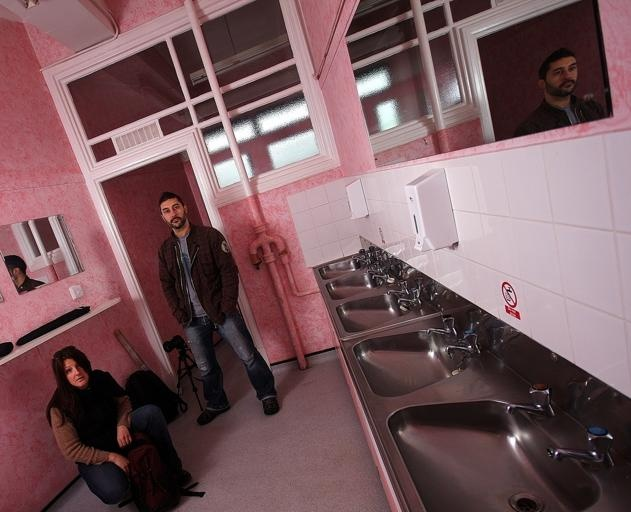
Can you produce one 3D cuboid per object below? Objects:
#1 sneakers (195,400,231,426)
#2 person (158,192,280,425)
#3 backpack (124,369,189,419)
[{"bbox_3d":[-0.806,1.211,3.204,0.277,0.108,0.108,-29,31,-19],"label":"sneakers"},{"bbox_3d":[-0.793,0.375,3.017,0.638,1.318,0.273,-14,11,14],"label":"person"},{"bbox_3d":[-1.225,1.066,3.174,0.151,0.474,0.390,-21,45,33],"label":"backpack"}]
